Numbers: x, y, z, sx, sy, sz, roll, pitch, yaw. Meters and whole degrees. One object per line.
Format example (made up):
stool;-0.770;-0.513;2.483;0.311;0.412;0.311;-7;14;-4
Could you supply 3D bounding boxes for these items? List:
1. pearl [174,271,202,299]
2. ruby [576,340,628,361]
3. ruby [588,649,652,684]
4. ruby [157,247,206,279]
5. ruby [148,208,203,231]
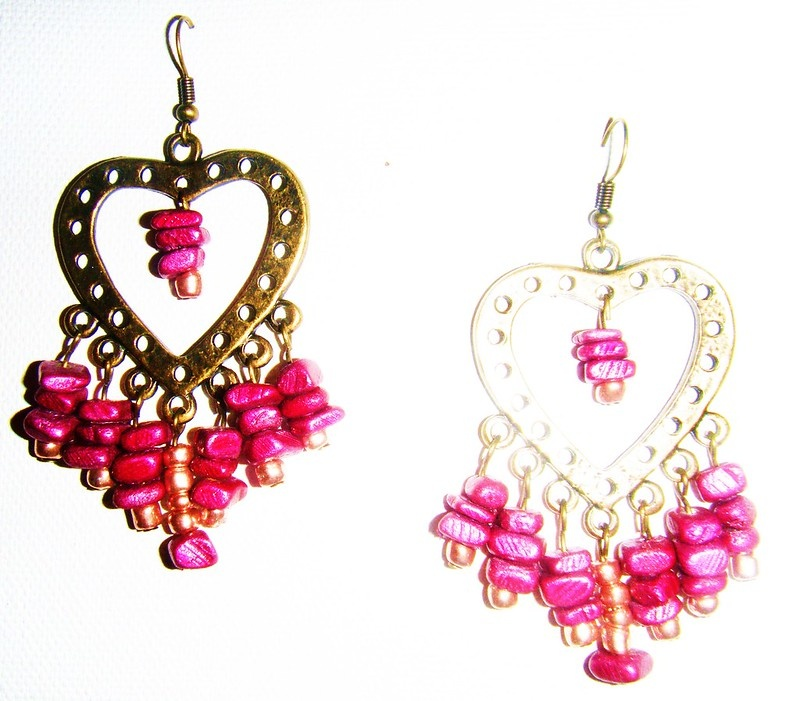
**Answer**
pearl;-0.483;-0.149;2.249;0.065;0.063;0.061;-2;-7;11
ruby;0.466;0.002;2.266;0.106;0.031;0.044;-5;-52;10
ruby;0.491;0.716;2.234;0.091;0.040;0.110;-5;-7;40
ruby;-0.496;-0.202;2.238;0.080;0.080;0.035;-26;-99;26
ruby;-0.510;-0.299;2.238;0.108;0.046;0.032;1;-14;1
